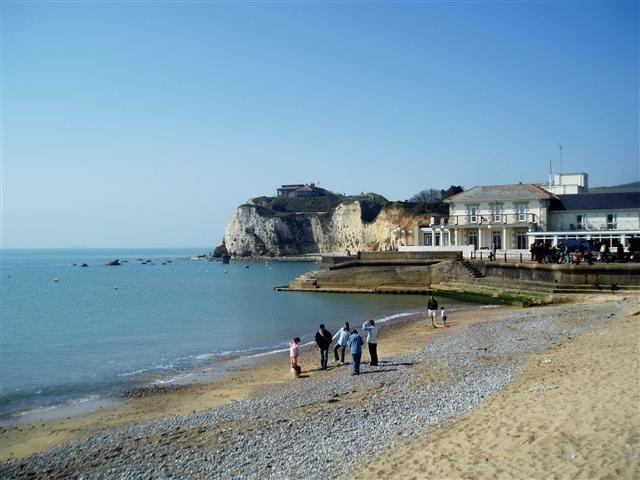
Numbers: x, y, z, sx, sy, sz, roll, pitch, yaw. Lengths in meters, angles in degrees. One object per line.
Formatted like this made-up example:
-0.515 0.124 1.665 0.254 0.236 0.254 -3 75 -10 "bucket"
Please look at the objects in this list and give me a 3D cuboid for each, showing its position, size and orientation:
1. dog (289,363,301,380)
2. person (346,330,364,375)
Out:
-1.104 6.102 27.457 0.468 0.542 1.127 -7 2 -4 "dog"
1.620 4.947 26.454 0.653 1.507 2.381 -6 2 1 "person"
